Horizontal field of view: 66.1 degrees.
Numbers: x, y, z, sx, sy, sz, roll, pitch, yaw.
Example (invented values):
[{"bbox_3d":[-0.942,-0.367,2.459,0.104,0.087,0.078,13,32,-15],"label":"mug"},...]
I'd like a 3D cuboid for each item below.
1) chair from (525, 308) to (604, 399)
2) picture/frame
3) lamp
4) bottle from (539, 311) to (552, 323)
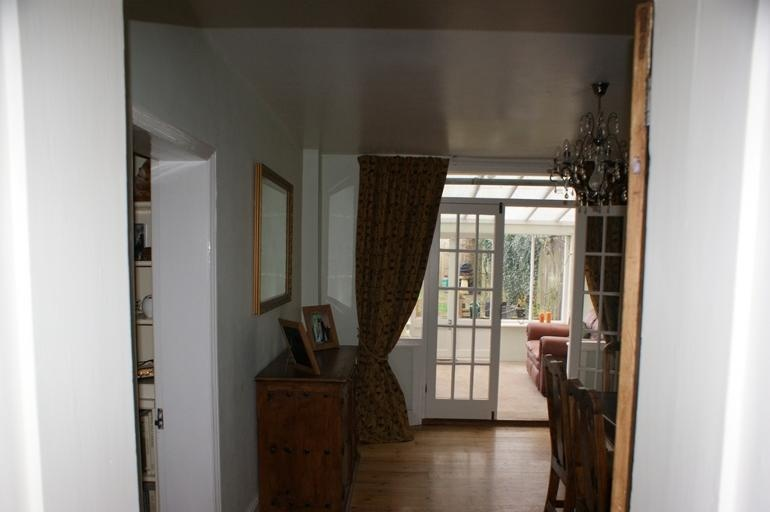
[{"bbox_3d":[1.960,1.009,6.498,0.689,0.911,0.946,1,5,2],"label":"chair"},{"bbox_3d":[-0.481,0.529,3.678,0.123,0.241,0.335,-15,0,15],"label":"picture/frame"},{"bbox_3d":[1.231,-0.620,3.420,0.454,0.690,0.463,9,18,34],"label":"lamp"},{"bbox_3d":[2.242,0.849,8.254,0.133,0.139,0.080,0,-6,-3],"label":"bottle"}]
